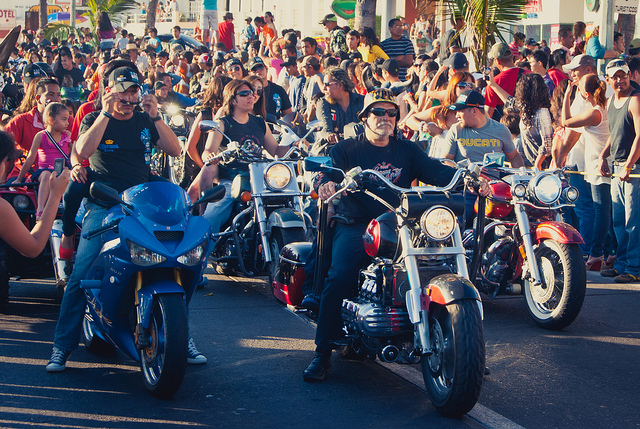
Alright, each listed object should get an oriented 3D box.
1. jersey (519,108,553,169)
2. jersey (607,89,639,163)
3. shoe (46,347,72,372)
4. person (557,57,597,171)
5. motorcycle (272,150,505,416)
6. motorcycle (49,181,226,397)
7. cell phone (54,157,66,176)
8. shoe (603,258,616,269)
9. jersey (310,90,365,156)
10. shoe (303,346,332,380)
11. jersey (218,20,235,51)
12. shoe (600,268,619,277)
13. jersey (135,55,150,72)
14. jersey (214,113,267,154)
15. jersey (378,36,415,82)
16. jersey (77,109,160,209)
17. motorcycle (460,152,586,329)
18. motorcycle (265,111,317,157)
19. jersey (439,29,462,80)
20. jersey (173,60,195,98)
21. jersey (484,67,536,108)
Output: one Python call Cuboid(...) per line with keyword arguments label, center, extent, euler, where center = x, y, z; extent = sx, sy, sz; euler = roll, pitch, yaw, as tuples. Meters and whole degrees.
Cuboid(label="jersey", center=(3.363, -1.167, 11.508), extent=(0.461, 0.968, 0.653), euler=(2, 12, 11))
Cuboid(label="jersey", center=(4.227, -1.222, 10.450), extent=(0.410, 0.964, 0.216), euler=(9, 14, 38))
Cuboid(label="shoe", center=(-2.499, 1.400, 7.148), extent=(0.111, 0.167, 0.357), euler=(13, -5, 1))
Cuboid(label="person", center=(3.875, -1.512, 11.232), extent=(0.448, 1.641, 1.136), euler=(4, 12, 19))
Cuboid(label="motorcycle", center=(0.654, 0.508, 7.490), extent=(1.235, 2.125, 3.260), euler=(1, 4, -25))
Cuboid(label="motorcycle", center=(-1.624, 0.643, 6.887), extent=(1.296, 1.845, 0.637), euler=(7, 13, 29))
Cuboid(label="cell phone", center=(-2.343, -0.426, 6.762), extent=(0.077, 0.137, 0.160), euler=(-4, 13, -19))
Cuboid(label="shoe", center=(4.231, 0.716, 10.873), extent=(0.136, 0.137, 0.152), euler=(2, 12, 7))
Cuboid(label="jersey", center=(0.311, -1.467, 11.651), extent=(0.584, 0.744, 1.187), euler=(1, -1, -21))
Cuboid(label="shoe", center=(0.000, 1.406, 7.118), extent=(0.142, 0.316, 0.425), euler=(-2, 1, 24))
Cuboid(label="jersey", center=(-3.048, -5.867, 24.519), extent=(0.436, 0.941, 1.010), euler=(-1, 12, -8))
Cuboid(label="shoe", center=(4.112, 0.820, 10.560), extent=(0.226, 0.116, 0.090), euler=(3, -5, 1))
Cuboid(label="jersey", center=(-5.658, -4.867, 24.048), extent=(0.402, 0.451, 1.065), euler=(-3, 13, -14))
Cuboid(label="jersey", center=(-0.901, -1.069, 10.022), extent=(0.411, 0.515, 0.691), euler=(1, 0, -39))
Cuboid(label="jersey", center=(1.783, -3.628, 17.060), extent=(0.783, 0.807, 1.393), euler=(1, 13, 4))
Cuboid(label="jersey", center=(-2.077, -0.622, 8.070), extent=(0.889, 1.042, 0.528), euler=(-3, 21, -13))
Cuboid(label="motorcycle", center=(2.553, 0.315, 8.754), extent=(1.185, 1.659, 2.290), euler=(-2, 8, -22))
Cuboid(label="motorcycle", center=(-0.398, -1.358, 11.875), extent=(0.720, 0.784, 1.103), euler=(-2, 3, -27))
Cuboid(label="jersey", center=(2.726, -3.126, 14.930), extent=(0.236, 0.794, 0.528), euler=(-4, -15, 30))
Cuboid(label="jersey", center=(-3.557, -3.548, 19.669), extent=(0.522, 0.601, 1.792), euler=(25, 8, -11))
Cuboid(label="jersey", center=(3.246, -2.260, 13.261), extent=(0.450, 0.661, 1.023), euler=(6, 14, 24))
